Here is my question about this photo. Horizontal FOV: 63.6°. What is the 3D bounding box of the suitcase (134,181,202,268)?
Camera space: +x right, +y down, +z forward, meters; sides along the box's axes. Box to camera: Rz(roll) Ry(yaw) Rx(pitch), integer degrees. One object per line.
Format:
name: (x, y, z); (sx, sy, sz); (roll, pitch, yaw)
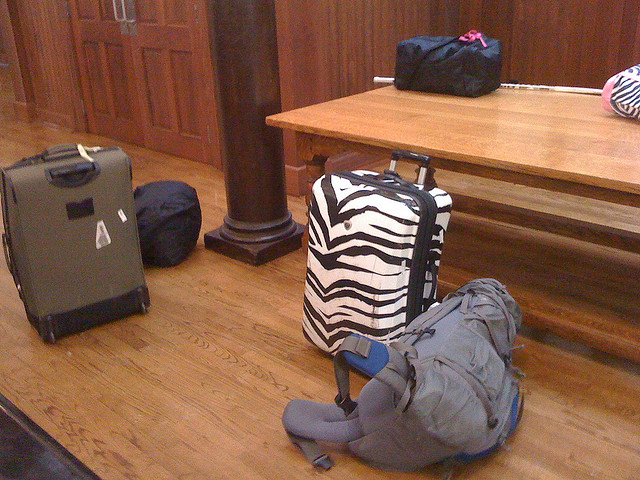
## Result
suitcase: (-0.754, -0.091, 2.793); (0.382, 0.442, 0.415); (3, 2, 0)

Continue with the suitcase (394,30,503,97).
suitcase: (0.678, -0.946, 2.753); (0.513, 0.314, 0.287); (20, 32, 35)

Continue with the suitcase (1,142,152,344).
suitcase: (-1.058, 0.052, 2.223); (0.585, 0.839, 0.445); (-21, 38, -32)

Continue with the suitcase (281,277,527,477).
suitcase: (0.351, 0.456, 1.695); (0.895, 0.476, 0.469); (-16, 37, -22)

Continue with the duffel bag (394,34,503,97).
duffel bag: (0.676, -0.925, 2.730); (0.542, 0.290, 0.258); (16, 37, 22)

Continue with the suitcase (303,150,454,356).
suitcase: (0.183, 0.076, 2.081); (0.530, 0.812, 0.506); (4, 26, -1)
